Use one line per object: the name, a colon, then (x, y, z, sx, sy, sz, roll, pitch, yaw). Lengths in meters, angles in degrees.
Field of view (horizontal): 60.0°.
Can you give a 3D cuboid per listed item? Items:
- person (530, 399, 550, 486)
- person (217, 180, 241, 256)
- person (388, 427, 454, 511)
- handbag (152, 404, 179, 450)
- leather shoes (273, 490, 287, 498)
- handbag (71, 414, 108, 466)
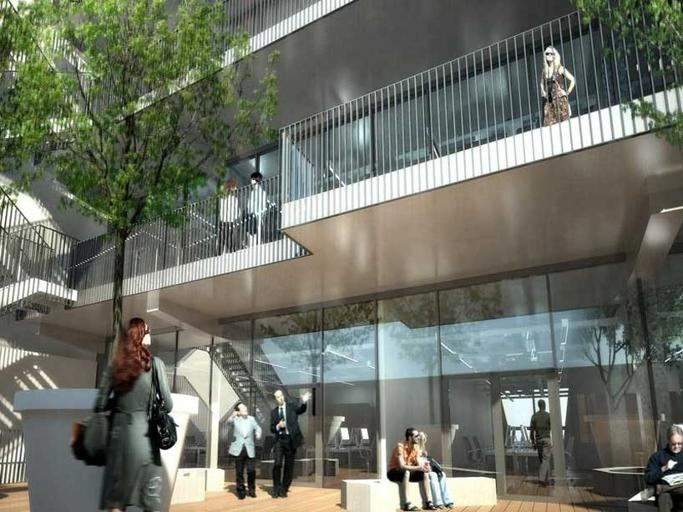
person: (3.746, 3.444, 11.145, 0.390, 1.486, 0.102, -6, -20, 20)
person: (-2.477, -0.854, 12.992, 0.389, 1.899, 0.431, -2, -23, -9)
person: (1.340, 3.615, 10.203, 0.905, 1.502, 1.274, 20, -38, -24)
handbag: (-1.854, 1.680, 6.130, 0.158, 0.387, 0.338, -8, -16, 35)
leather shoes: (-1.189, 4.561, 11.487, 0.104, 0.148, 0.324, -6, -29, 18)
handbag: (-2.495, 1.787, 5.899, 0.338, 0.474, 0.173, 9, -21, -20)
